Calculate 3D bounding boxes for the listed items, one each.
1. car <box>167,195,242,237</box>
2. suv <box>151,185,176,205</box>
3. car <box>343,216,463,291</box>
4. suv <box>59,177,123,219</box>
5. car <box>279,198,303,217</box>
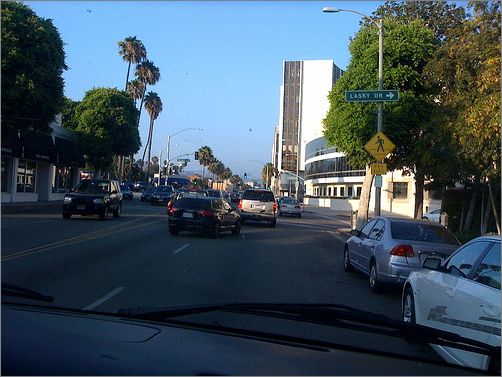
[{"bbox_3d":[-1.587,1.080,18.237,1.214,1.093,2.968,1,-1,17],"label":"car"},{"bbox_3d":[-8.384,0.685,42.999,1.576,1.647,3.037,0,-5,3],"label":"suv"},{"bbox_3d":[3.040,1.450,10.292,1.172,1.011,2.828,1,2,-5],"label":"car"},{"bbox_3d":[-7.858,0.436,23.014,1.544,1.453,3.176,-1,-6,6],"label":"suv"},{"bbox_3d":[3.280,1.628,38.162,1.661,1.617,2.432,1,0,-28],"label":"car"}]
